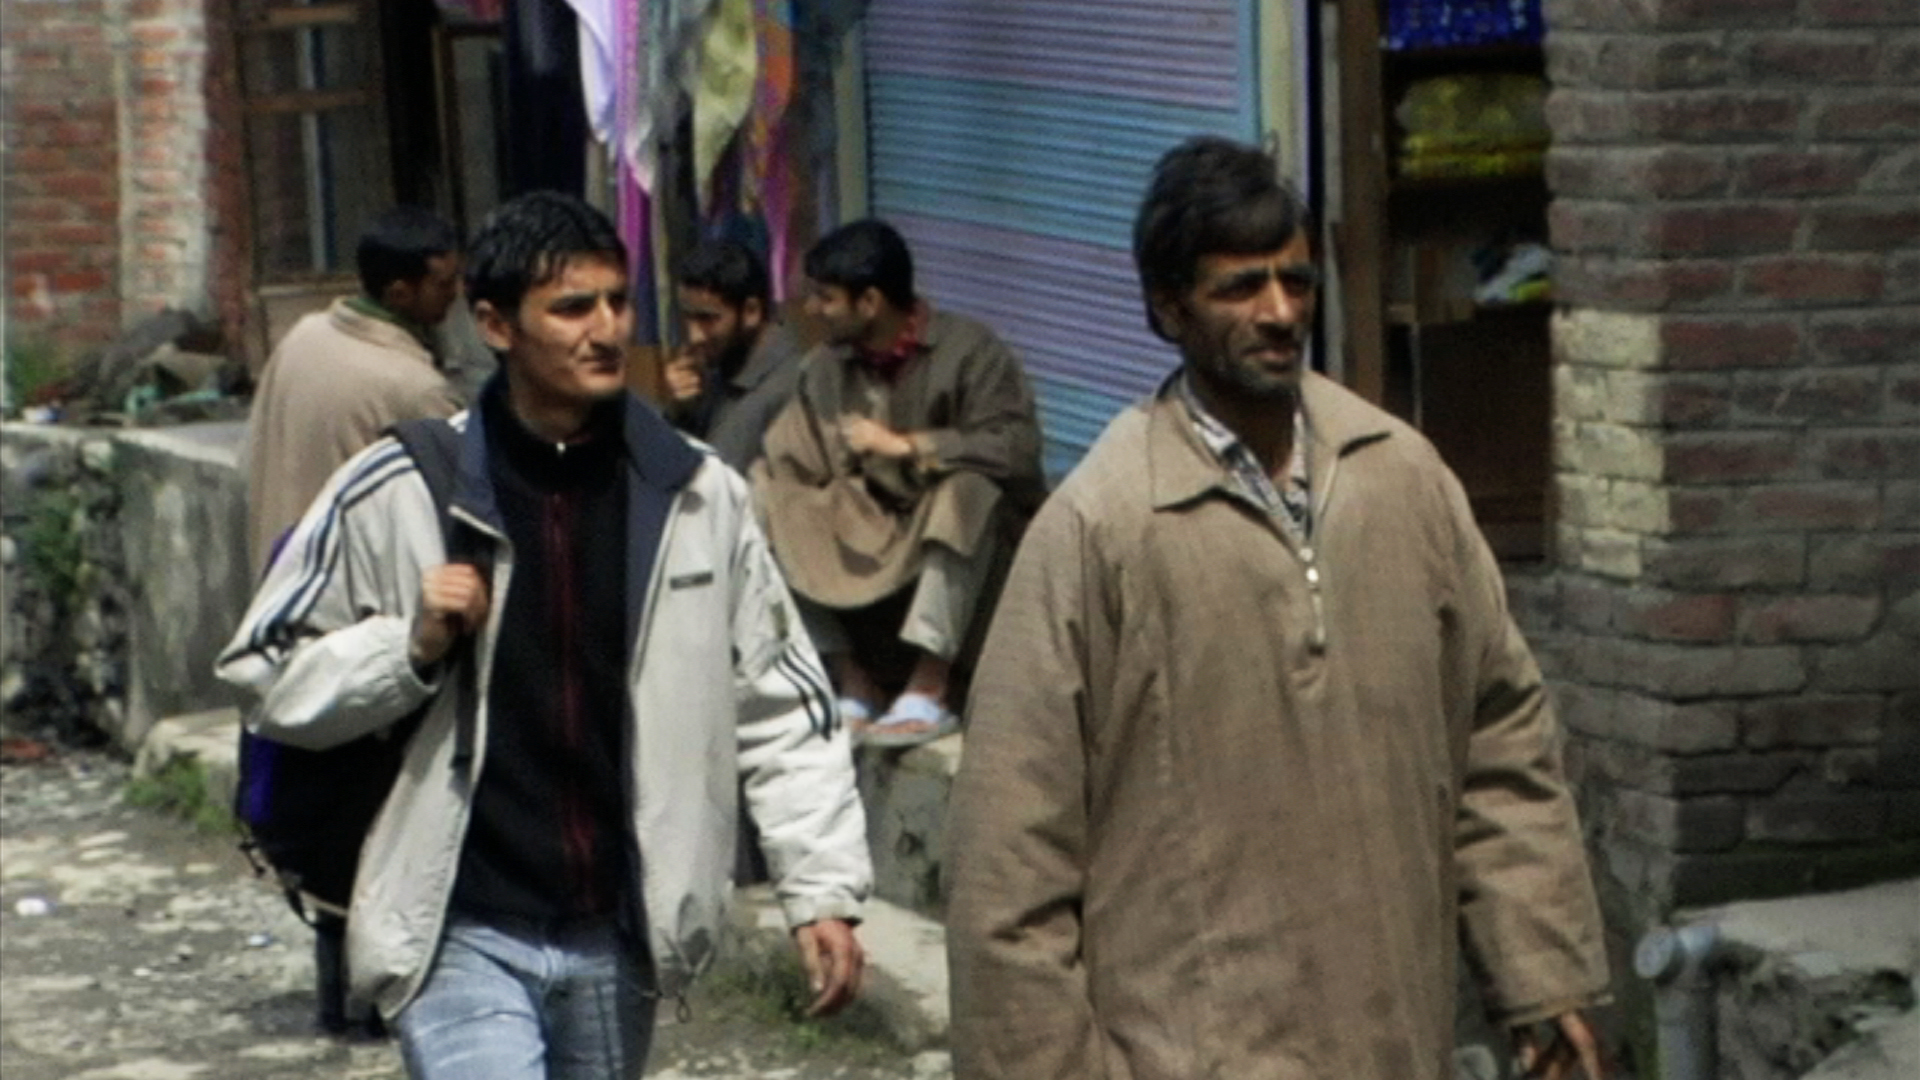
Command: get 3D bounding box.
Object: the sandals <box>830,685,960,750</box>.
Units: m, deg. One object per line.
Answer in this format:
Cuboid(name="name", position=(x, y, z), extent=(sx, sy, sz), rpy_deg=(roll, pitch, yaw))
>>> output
Cuboid(name="sandals", position=(-0.221, 0.733, 9.994), extent=(0.377, 0.150, 0.272), rpy_deg=(0, 1, -36))
